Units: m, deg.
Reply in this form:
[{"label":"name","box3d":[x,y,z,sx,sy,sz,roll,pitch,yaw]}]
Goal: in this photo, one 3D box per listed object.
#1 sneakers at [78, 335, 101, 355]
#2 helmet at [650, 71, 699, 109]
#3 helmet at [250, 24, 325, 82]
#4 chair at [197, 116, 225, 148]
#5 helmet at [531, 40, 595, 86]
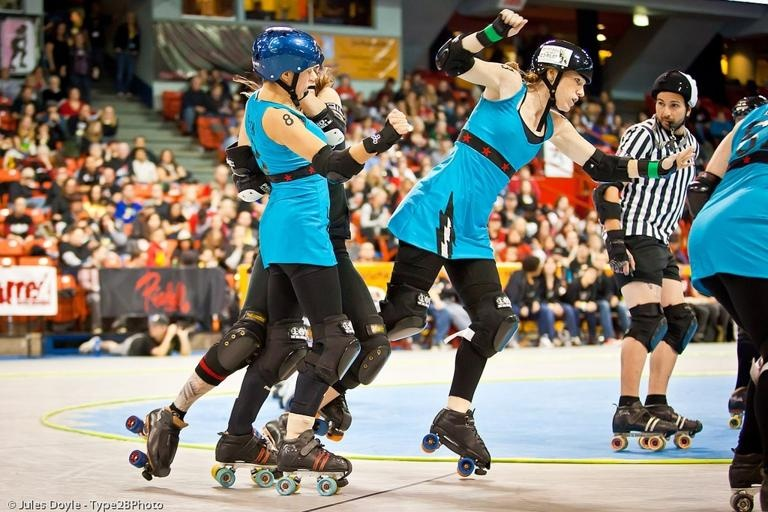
[{"label":"sneakers","box3d":[-4.476,1.344,12.638,0.315,0.172,0.244,-9,-10,1]},{"label":"helmet","box3d":[2.364,-1.348,6.832,0.311,0.346,0.405,10,5,37]},{"label":"helmet","box3d":[-0.638,-1.367,5.503,0.413,0.294,0.325,11,26,-8]},{"label":"chair","box3d":[-3.902,-2.793,18.996,0.706,0.951,0.676,-1,8,-16]},{"label":"helmet","box3d":[1.282,-1.421,6.039,0.438,0.352,0.349,8,13,23]}]
